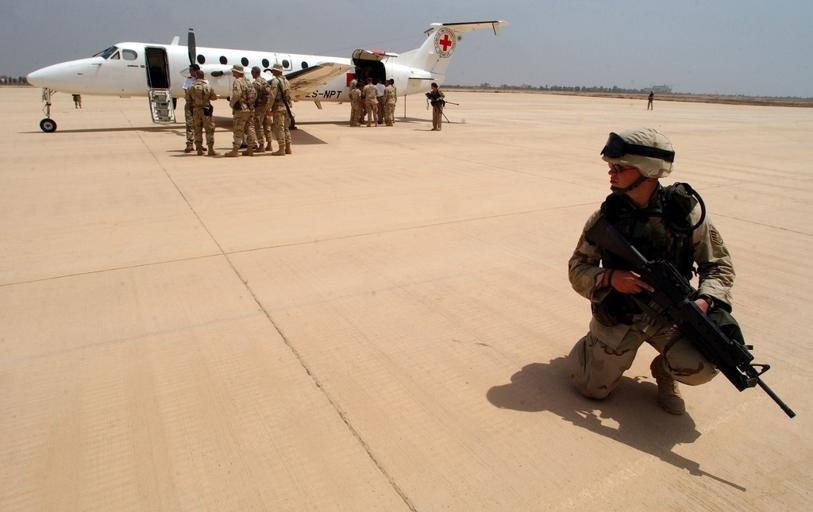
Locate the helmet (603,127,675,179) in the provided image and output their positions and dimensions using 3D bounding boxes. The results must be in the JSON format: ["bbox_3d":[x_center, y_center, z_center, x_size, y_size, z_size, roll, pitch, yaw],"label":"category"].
[{"bbox_3d":[1.960,-0.891,4.412,0.651,0.346,0.483,8,19,8],"label":"helmet"}]

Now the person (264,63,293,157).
[{"bbox_3d":[-3.157,-3.569,12.842,0.518,2.030,1.079,-6,23,-13],"label":"person"}]

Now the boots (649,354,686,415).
[{"bbox_3d":[2.236,1.141,4.439,0.216,0.269,0.538,-19,55,7],"label":"boots"}]

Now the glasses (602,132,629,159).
[{"bbox_3d":[1.725,-0.920,4.307,0.266,0.167,0.186,15,6,-19],"label":"glasses"}]

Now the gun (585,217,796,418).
[{"bbox_3d":[2.441,0.607,4.518,2.532,0.657,0.355,43,15,14],"label":"gun"}]
